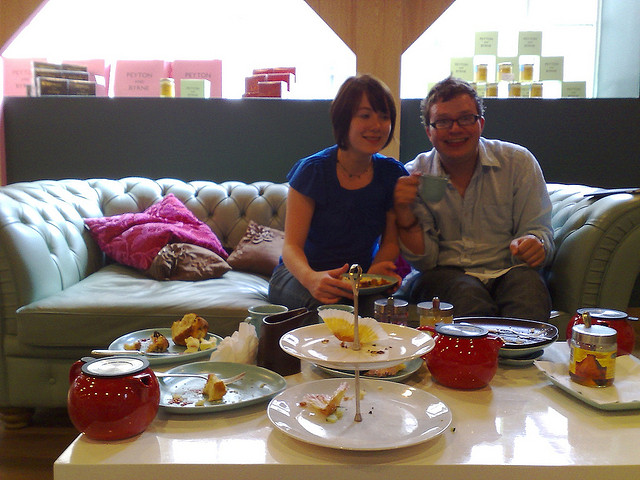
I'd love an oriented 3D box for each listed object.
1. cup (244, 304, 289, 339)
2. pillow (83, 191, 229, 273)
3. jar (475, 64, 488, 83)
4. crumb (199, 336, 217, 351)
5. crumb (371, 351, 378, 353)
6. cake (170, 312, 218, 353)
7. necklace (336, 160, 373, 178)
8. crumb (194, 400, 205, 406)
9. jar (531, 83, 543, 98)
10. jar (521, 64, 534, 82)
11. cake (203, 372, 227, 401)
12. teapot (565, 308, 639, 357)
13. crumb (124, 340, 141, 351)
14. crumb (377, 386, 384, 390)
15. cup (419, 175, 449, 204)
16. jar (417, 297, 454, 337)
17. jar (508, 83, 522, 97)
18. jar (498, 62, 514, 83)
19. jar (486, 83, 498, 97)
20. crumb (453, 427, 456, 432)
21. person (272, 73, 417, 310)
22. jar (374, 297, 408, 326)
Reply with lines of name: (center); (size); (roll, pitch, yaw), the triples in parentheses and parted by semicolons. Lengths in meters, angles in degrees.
cup: (-0.165, 0.248, 1.684); (0.126, 0.123, 0.085); (-7, 16, -31)
pillow: (-0.883, -0.048, 2.794); (0.479, 0.177, 0.462); (41, 31, 18)
jar: (1.040, -1.074, 3.362); (0.078, 0.114, 0.077); (-1, 13, 0)
crumb: (-0.362, 0.336, 1.683); (0.032, 0.012, 0.033); (-2, 7, -5)
crumb: (0.124, 0.257, 1.198); (0.017, 0.004, 0.008); (6, 14, 27)
cake: (-0.412, 0.319, 1.762); (0.178, 0.061, 0.142); (-30, -16, 35)
necklace: (0.141, -0.316, 2.308); (0.139, 0.076, 0.039); (-1, 13, -2)
crumb: (-0.312, 0.421, 1.343); (0.011, 0.010, 0.019); (0, 2, -45)
jar: (1.382, -0.956, 3.316); (0.071, 0.088, 0.056); (4, 14, 19)
jar: (1.338, -1.079, 3.366); (0.074, 0.113, 0.054); (4, 14, 19)
cake: (-0.276, 0.383, 1.381); (0.044, 0.034, 0.070); (-5, 28, -21)
teapot: (0.854, 0.247, 1.586); (0.185, 0.127, 0.154); (1, 2, 4)
crumb: (-0.598, 0.334, 1.657); (0.031, 0.013, 0.031); (-11, 1, -15)
crumb: (0.164, 0.400, 1.409); (0.017, 0.005, 0.011); (3, 13, 15)
cup: (0.449, -0.203, 2.068); (0.110, 0.110, 0.079); (2, 14, 15)
jar: (0.361, 0.250, 1.662); (0.087, 0.151, 0.149); (0, 2, 0)
jar: (1.252, -0.966, 3.343); (0.083, 0.084, 0.044); (3, 14, 18)
jar: (1.209, -1.091, 3.392); (0.094, 0.130, 0.084); (3, 14, 15)
jar: (1.095, -0.957, 3.319); (0.077, 0.085, 0.078); (-1, 13, 0)
crumb: (0.327, 0.462, 1.269); (0.004, 0.004, 0.008); (-1, -10, 7)
person: (0.136, -0.188, 2.337); (0.644, 1.031, 0.657); (-6, 16, -34)
jar: (0.228, 0.227, 1.693); (0.093, 0.102, 0.093); (0, 0, 0)
